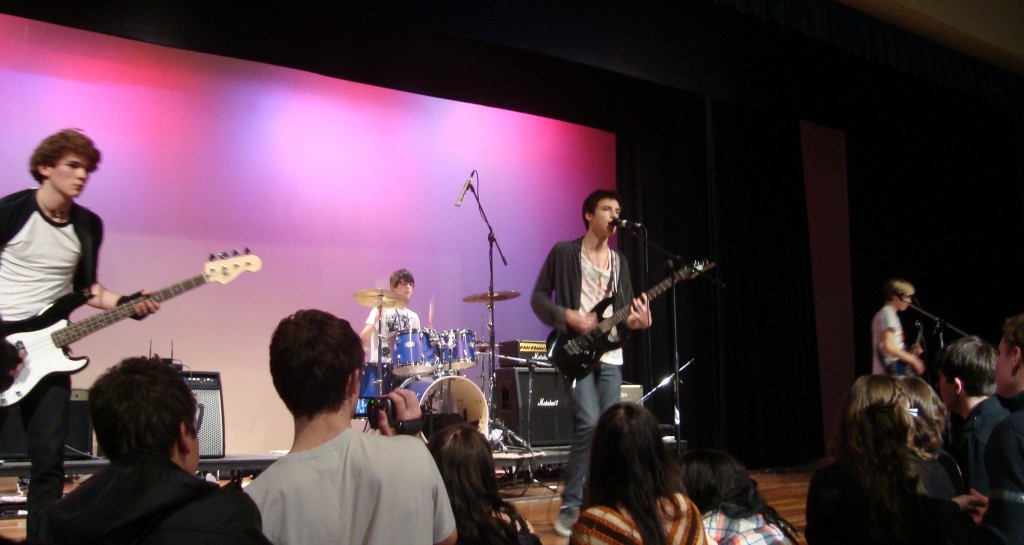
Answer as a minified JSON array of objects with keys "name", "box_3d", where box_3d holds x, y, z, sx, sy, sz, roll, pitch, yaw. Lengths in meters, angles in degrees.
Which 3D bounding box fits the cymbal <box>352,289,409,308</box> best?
[{"name":"cymbal","box_3d":[-1.537,0.306,8.500,0.358,0.077,0.347,15,-29,-28]}]

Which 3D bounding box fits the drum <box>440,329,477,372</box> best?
[{"name":"drum","box_3d":[-0.575,0.903,8.206,0.475,0.404,0.456,-2,-27,-1]}]

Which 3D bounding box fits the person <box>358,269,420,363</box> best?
[{"name":"person","box_3d":[-1.451,0.623,9.071,1.021,1.251,0.867,3,-9,-19]}]

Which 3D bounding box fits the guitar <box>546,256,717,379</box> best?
[{"name":"guitar","box_3d":[0.958,0.432,6.291,1.244,1.007,0.359,2,-9,-13]}]

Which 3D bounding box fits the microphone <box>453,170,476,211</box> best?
[{"name":"microphone","box_3d":[-0.624,-1.070,9.323,0.194,0.617,0.191,24,20,9]}]

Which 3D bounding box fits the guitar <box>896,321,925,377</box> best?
[{"name":"guitar","box_3d":[4.611,0.902,8.281,0.117,0.722,0.367,5,-6,37]}]

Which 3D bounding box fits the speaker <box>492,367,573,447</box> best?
[{"name":"speaker","box_3d":[0.249,1.497,7.914,1.075,0.916,0.563,6,-12,-32]}]
